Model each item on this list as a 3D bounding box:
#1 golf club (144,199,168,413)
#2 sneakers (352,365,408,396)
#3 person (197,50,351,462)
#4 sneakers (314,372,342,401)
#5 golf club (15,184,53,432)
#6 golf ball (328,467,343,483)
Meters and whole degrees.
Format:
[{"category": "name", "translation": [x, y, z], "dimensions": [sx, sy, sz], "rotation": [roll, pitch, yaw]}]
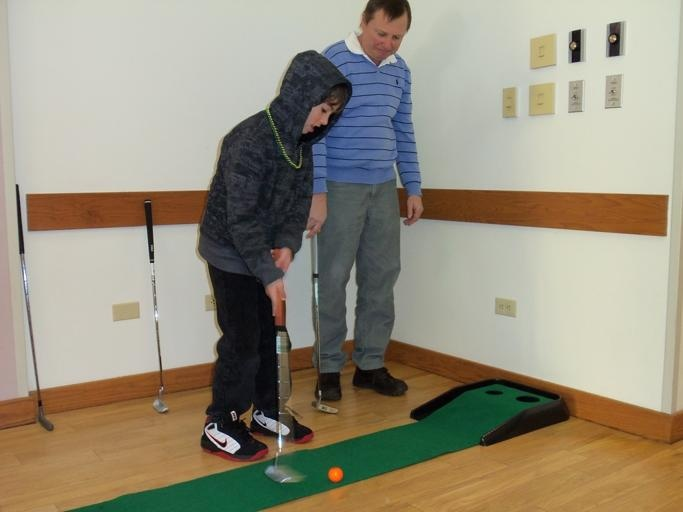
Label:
[{"category": "golf club", "translation": [-1.002, 0.256, 2.764], "dimensions": [0.076, 1.089, 0.384], "rotation": [-5, 10, -20]}, {"category": "sneakers", "translation": [0.208, 0.710, 2.994], "dimensions": [0.329, 0.145, 0.124], "rotation": [5, 12, 31]}, {"category": "person", "translation": [-0.277, 0.024, 2.141], "dimensions": [0.628, 1.678, 0.386], "rotation": [-3, 10, -10]}, {"category": "sneakers", "translation": [-0.065, 0.717, 2.830], "dimensions": [0.175, 0.179, 0.104], "rotation": [-1, 10, -18]}, {"category": "golf club", "translation": [-1.519, 0.247, 2.540], "dimensions": [0.070, 1.181, 0.351], "rotation": [-7, 11, -32]}, {"category": "golf ball", "translation": [-0.019, 0.852, 2.045], "dimensions": [0.067, 0.046, 0.064], "rotation": [-1, 10, 0]}]
